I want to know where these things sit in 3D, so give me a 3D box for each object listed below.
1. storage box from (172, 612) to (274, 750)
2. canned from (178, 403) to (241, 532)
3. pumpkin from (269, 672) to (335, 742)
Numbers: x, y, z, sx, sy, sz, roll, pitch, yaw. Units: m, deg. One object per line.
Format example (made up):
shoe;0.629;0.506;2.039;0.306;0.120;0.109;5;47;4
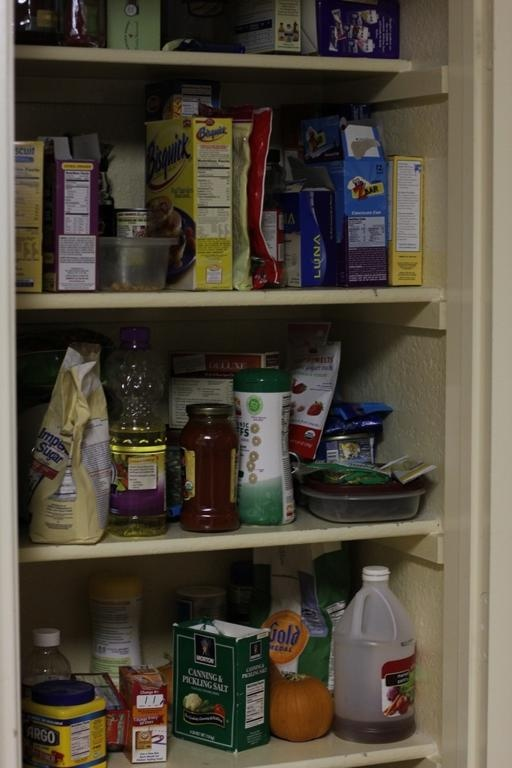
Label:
storage box;-0.052;0.461;1.056;0.188;0.241;0.087;-1;-3;41
canned;-0.072;0.127;1.038;0.094;0.193;0.057;-5;8;-4
pumpkin;0.081;0.508;1.102;0.085;0.077;0.086;0;-11;-2
